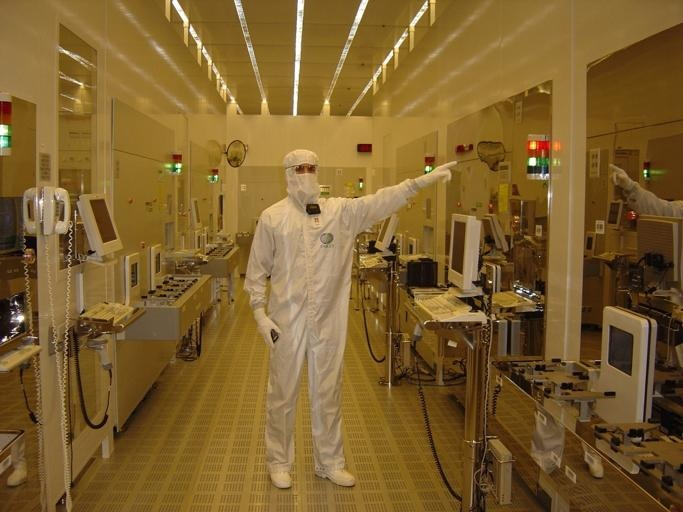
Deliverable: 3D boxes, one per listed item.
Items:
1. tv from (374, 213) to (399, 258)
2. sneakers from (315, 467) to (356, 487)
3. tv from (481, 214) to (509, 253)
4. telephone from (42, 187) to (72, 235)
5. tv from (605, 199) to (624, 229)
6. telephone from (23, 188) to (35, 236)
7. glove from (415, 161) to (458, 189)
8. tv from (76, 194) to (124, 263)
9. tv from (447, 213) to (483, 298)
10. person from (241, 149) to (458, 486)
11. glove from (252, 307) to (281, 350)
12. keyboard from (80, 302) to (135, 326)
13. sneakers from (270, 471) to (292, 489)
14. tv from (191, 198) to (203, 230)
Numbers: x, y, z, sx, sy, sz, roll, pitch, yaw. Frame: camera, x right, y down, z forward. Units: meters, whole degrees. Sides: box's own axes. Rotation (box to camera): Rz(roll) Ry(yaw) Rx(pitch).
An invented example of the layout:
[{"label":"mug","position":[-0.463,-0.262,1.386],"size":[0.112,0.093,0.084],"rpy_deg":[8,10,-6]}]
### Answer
[{"label":"tv","position":[0.477,-0.205,5.491],"size":[0.108,0.357,0.468],"rpy_deg":[11,10,-8]},{"label":"sneakers","position":[-0.032,1.454,3.553],"size":[0.240,0.123,0.109],"rpy_deg":[6,10,23]},{"label":"tv","position":[1.157,-0.171,4.043],"size":[0.047,0.238,0.219],"rpy_deg":[-17,23,-11]},{"label":"telephone","position":[-1.544,-0.243,2.930],"size":[0.131,0.283,0.280],"rpy_deg":[-3,9,-27]},{"label":"tv","position":[1.434,-0.213,2.889],"size":[0.083,0.177,0.164],"rpy_deg":[2,2,5]},{"label":"telephone","position":[-1.582,-0.226,2.752],"size":[0.042,0.238,0.094],"rpy_deg":[2,8,13]},{"label":"glove","position":[0.587,-0.522,3.448],"size":[0.215,0.160,0.397],"rpy_deg":[2,9,8]},{"label":"tv","position":[-1.537,-0.177,3.422],"size":[0.118,0.409,0.373],"rpy_deg":[-12,11,2]},{"label":"tv","position":[0.750,0.011,3.255],"size":[0.161,0.570,0.509],"rpy_deg":[0,6,-5]},{"label":"person","position":[-0.117,0.393,3.579],"size":[1.003,2.179,0.580],"rpy_deg":[-1,8,-13]},{"label":"glove","position":[-0.461,0.465,3.519],"size":[0.151,0.280,0.077],"rpy_deg":[-32,-14,15]},{"label":"keyboard","position":[-1.468,0.369,3.415],"size":[0.308,0.076,0.314],"rpy_deg":[-3,9,-22]},{"label":"sneakers","position":[-0.383,1.464,3.471],"size":[0.134,0.089,0.088],"rpy_deg":[0,8,-6]},{"label":"tv","position":[-1.798,-0.532,6.732],"size":[0.119,0.378,0.371],"rpy_deg":[-10,-4,-6]}]
